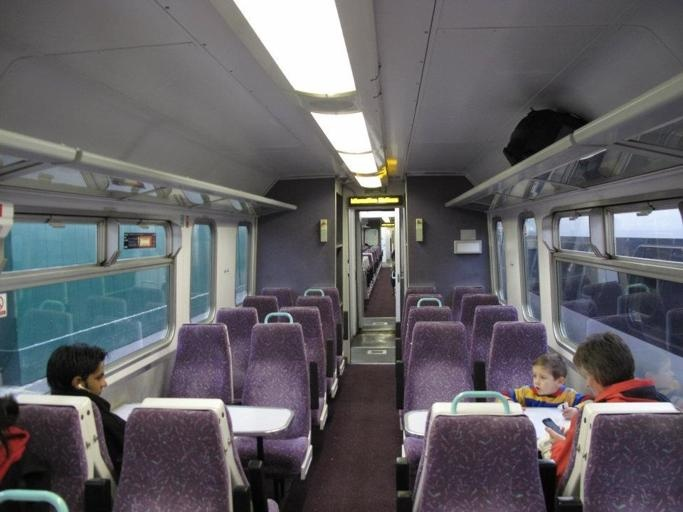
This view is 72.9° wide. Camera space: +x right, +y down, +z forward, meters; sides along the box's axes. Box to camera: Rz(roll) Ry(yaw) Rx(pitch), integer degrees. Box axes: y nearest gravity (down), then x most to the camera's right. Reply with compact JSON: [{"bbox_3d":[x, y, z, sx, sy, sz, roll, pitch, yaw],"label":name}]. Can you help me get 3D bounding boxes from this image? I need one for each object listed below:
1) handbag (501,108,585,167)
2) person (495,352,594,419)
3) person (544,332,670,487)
[{"bbox_3d":[1.787,-1.113,4.157,0.295,0.448,0.906,-2,5,-10],"label":"handbag"},{"bbox_3d":[1.724,1.111,3.928,0.680,0.502,0.376,-2,4,40],"label":"person"},{"bbox_3d":[1.685,0.909,3.191,0.722,1.130,0.831,5,-4,-39],"label":"person"}]
